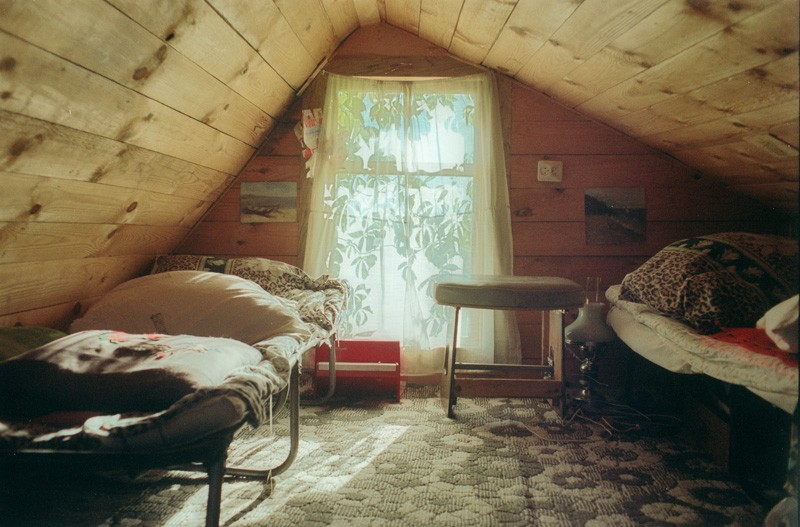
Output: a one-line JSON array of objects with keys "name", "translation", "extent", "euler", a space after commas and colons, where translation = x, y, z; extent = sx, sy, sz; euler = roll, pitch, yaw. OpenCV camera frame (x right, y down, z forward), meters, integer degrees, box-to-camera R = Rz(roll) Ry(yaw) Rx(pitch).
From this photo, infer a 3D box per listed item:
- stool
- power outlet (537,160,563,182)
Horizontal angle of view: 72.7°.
[{"name": "stool", "translation": [0.558, 0.423, 2.964], "extent": [0.715, 0.770, 0.663], "euler": [0, 14, 5]}, {"name": "power outlet", "translation": [0.910, -0.556, 3.237], "extent": [0.169, 0.122, 0.035], "euler": [3, 0, 0]}]
